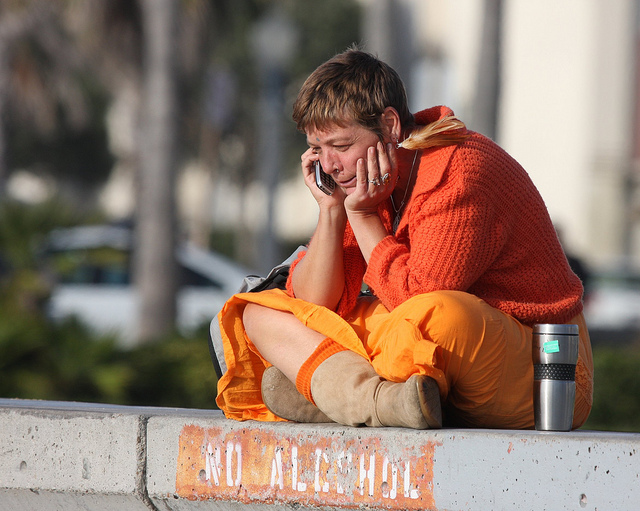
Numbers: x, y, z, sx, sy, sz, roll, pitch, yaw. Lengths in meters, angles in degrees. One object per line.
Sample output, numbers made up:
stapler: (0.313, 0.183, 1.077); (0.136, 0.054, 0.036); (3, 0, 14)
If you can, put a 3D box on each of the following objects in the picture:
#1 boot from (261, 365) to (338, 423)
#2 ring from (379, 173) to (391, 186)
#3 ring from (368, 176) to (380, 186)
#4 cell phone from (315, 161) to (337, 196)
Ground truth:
boot: (-0.116, 0.758, 11.240); (0.424, 0.239, 0.104); (24, 10, 4)
ring: (0.355, -0.450, 11.143); (0.061, 0.052, 0.028); (38, -13, -25)
ring: (0.302, -0.438, 11.139); (0.036, 0.031, 0.046); (12, -5, -29)
cell phone: (0.031, -0.446, 11.365); (0.112, 0.240, 0.050); (20, -38, -26)
